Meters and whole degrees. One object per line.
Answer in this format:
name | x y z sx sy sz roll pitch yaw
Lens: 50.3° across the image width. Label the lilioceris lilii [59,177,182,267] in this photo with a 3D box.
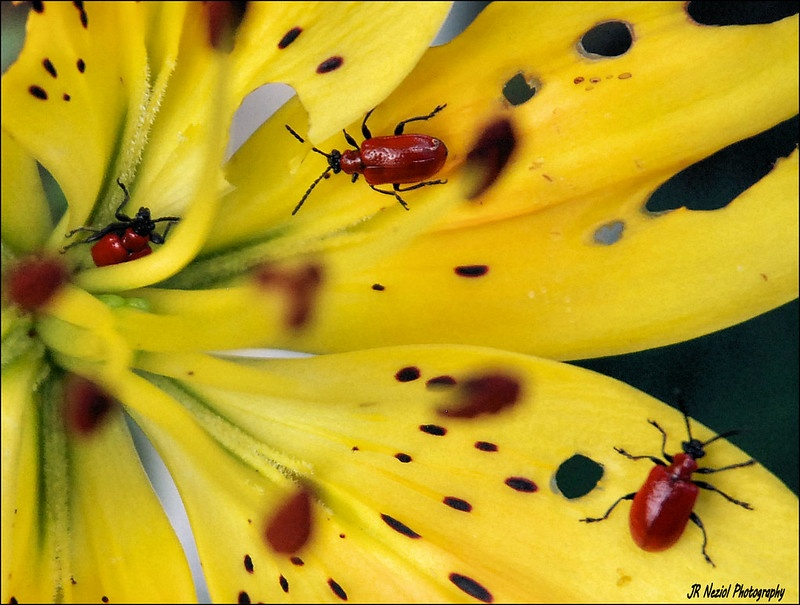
lilioceris lilii | -0.790 -0.196 2.371 0.226 0.085 0.281 45 75 -2
